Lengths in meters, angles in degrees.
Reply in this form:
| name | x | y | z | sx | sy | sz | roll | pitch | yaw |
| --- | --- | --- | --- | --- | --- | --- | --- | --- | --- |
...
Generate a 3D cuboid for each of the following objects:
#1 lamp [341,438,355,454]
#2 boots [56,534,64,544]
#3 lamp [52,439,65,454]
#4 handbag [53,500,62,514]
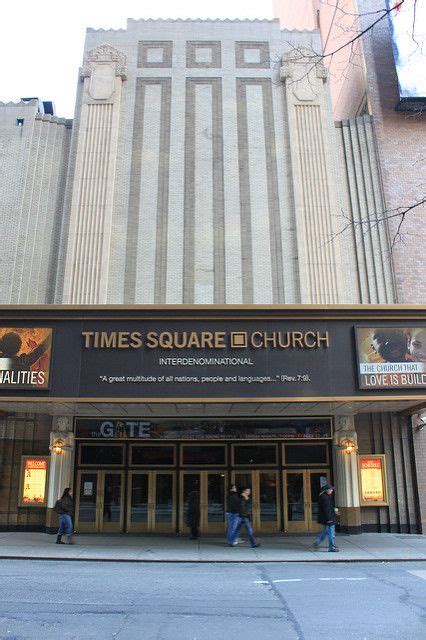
| name | x | y | z | sx | sy | sz | roll | pitch | yaw |
| --- | --- | --- | --- | --- | --- | --- | --- | --- | --- |
| lamp | 4.378 | 4.050 | 15.113 | 0.401 | 0.404 | 0.347 | 2 | 1 | -38 |
| boots | -4.152 | 5.953 | 12.780 | 0.198 | 0.243 | 0.468 | 3 | -17 | -17 |
| lamp | -4.861 | 4.002 | 14.863 | 0.406 | 0.459 | 0.223 | 4 | -18 | -18 |
| handbag | -4.204 | 5.072 | 12.742 | 0.147 | 0.354 | 0.528 | 4 | -18 | -18 |
